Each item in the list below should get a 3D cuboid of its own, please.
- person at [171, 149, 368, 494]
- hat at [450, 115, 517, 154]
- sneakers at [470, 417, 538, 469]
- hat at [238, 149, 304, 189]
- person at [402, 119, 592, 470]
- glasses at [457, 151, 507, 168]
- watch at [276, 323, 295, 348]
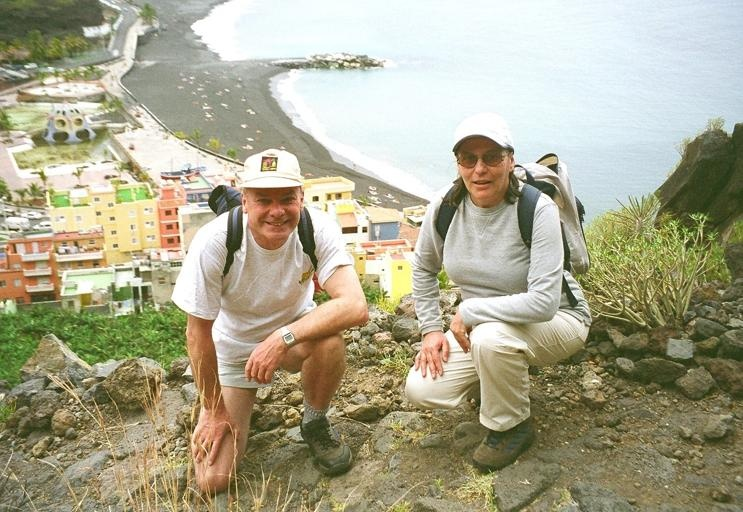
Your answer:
[{"bbox_3d":[-0.563,0.303,2.838,1.123,1.574,0.872,-2,13,-5],"label":"person"},{"bbox_3d":[0.577,-0.629,2.580,0.300,0.193,0.215,2,18,11],"label":"hat"},{"bbox_3d":[0.684,0.961,2.645,0.434,0.179,0.148,-25,37,-22],"label":"sneakers"},{"bbox_3d":[-0.515,-0.441,2.552,0.305,0.184,0.238,-5,18,-11],"label":"hat"},{"bbox_3d":[0.627,0.132,2.735,0.834,1.740,0.814,-20,25,-40],"label":"person"},{"bbox_3d":[0.560,-0.484,2.532,0.238,0.083,0.063,0,19,7],"label":"glasses"},{"bbox_3d":[-0.431,0.412,2.655,0.071,0.103,0.109,-24,16,-20],"label":"watch"}]
